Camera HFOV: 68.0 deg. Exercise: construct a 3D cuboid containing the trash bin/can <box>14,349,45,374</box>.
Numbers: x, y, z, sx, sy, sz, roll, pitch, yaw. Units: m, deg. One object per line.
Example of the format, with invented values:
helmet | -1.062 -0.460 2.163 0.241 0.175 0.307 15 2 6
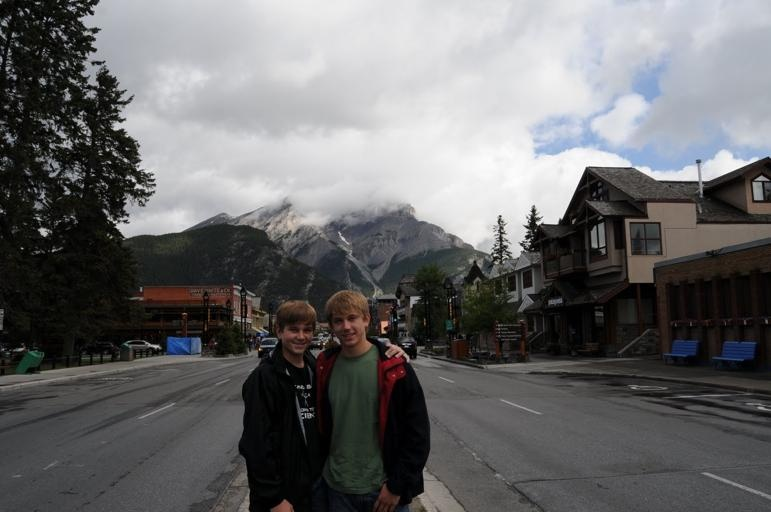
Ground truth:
trash bin/can | -19.774 5.904 31.683 1.125 1.203 1.543 -3 -5 -33
